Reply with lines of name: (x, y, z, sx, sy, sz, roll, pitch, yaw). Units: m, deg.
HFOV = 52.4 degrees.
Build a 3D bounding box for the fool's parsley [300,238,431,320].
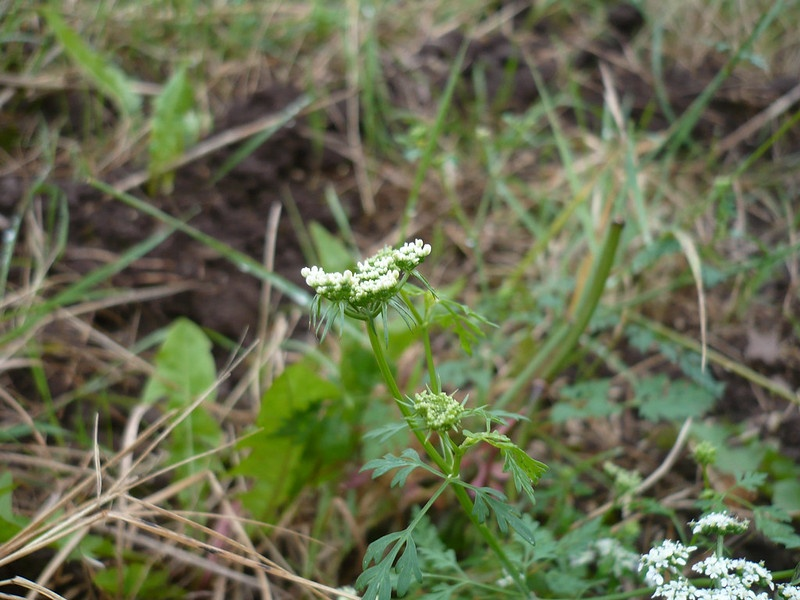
fool's parsley: (-0.085, -0.075, 2.387, 0.290, 0.238, 0.154, -33, 100, -55)
